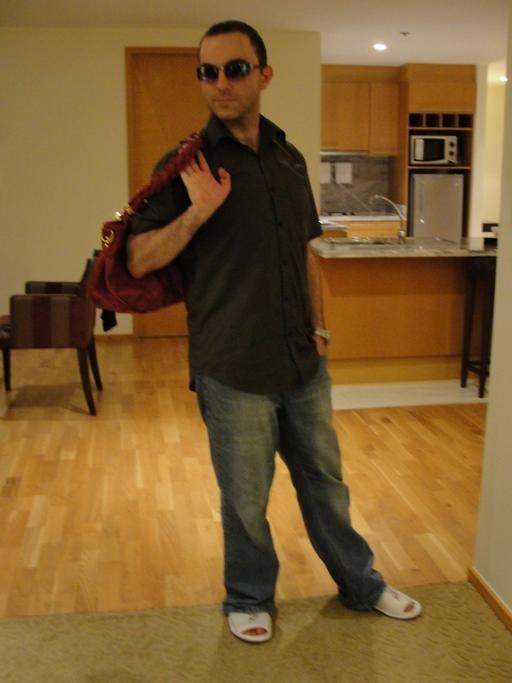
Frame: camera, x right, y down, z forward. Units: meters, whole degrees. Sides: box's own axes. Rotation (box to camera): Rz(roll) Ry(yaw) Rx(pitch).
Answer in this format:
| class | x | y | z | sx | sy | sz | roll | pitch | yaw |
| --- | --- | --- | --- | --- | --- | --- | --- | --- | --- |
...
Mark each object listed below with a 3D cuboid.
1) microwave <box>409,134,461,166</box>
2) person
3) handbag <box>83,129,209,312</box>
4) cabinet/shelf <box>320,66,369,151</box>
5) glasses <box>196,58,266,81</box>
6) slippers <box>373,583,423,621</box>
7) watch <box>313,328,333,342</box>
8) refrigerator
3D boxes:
| class | x | y | z | sx | sy | sz | roll | pitch | yaw |
| --- | --- | --- | --- | --- | --- | --- | --- | --- | --- |
| microwave | 2.372 | -2.573 | 7.238 | 0.673 | 0.420 | 0.405 | 0 | 7 | -6 |
| person | 0.055 | 0.061 | 1.246 | 0.503 | 1.408 | 0.218 | -8 | 14 | -31 |
| handbag | -0.200 | -0.214 | 0.991 | 0.215 | 0.324 | 0.137 | -6 | 13 | -25 |
| cabinet/shelf | 1.334 | -3.306 | 7.610 | 0.766 | 1.255 | 0.960 | -3 | 15 | -3 |
| glasses | -0.047 | -0.493 | 0.994 | 0.124 | 0.047 | 0.089 | -1 | 12 | -4 |
| slippers | 0.378 | 0.688 | 1.436 | 0.065 | 0.040 | 0.107 | -19 | 13 | -33 |
| watch | 0.159 | -0.014 | 1.233 | 0.034 | 0.033 | 0.026 | 7 | 54 | 7 |
| refrigerator | 2.578 | -1.954 | 7.520 | 0.707 | 0.989 | 0.684 | 13 | 39 | 30 |
